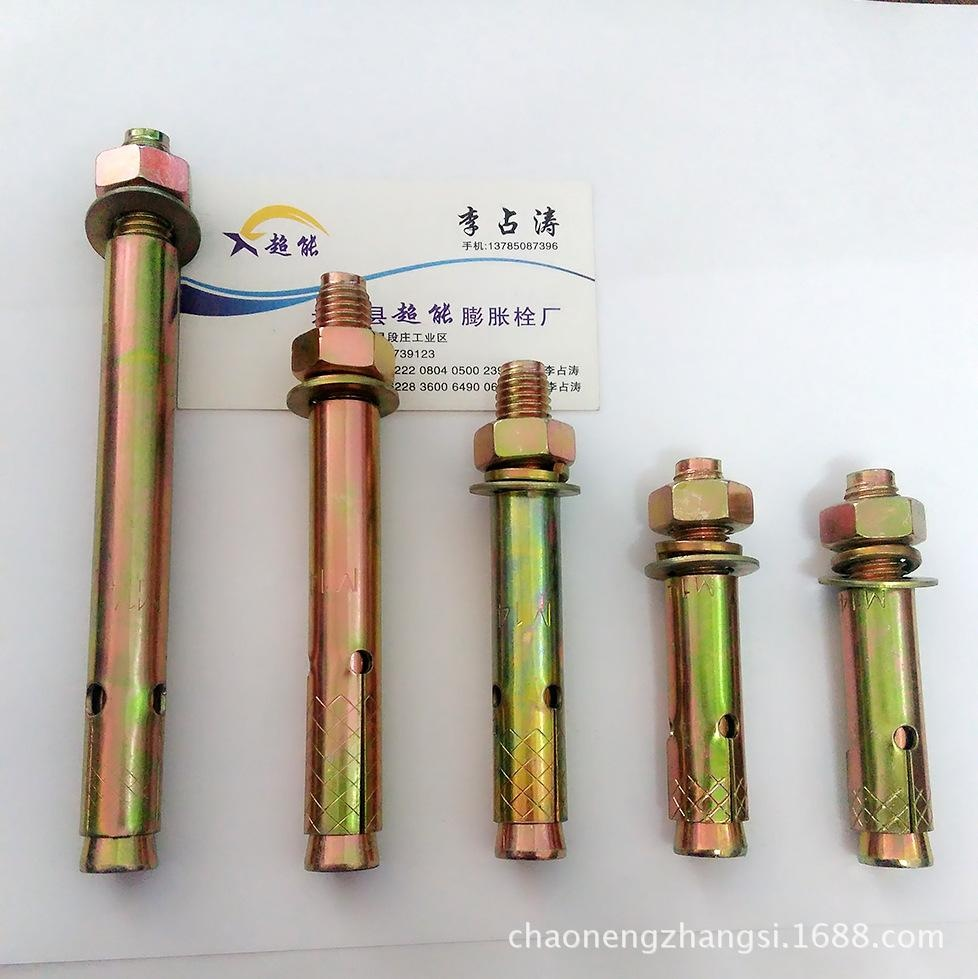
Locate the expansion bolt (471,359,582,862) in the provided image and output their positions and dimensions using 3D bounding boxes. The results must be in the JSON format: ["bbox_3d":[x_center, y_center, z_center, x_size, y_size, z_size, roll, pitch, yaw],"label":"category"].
[{"bbox_3d":[0.050,0.151,2.219,0.130,0.605,0.135,-2,-14,0],"label":"expansion bolt"}]

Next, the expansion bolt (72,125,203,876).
[{"bbox_3d":[-0.420,0.024,2.172,0.137,0.778,0.117,2,-15,-13],"label":"expansion bolt"}]

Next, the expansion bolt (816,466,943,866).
[{"bbox_3d":[0.493,0.228,2.252,0.136,0.488,0.136,-5,-15,11],"label":"expansion bolt"}]

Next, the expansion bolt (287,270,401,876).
[{"bbox_3d":[-0.178,0.100,2.195,0.136,0.720,0.158,1,-15,-12],"label":"expansion bolt"}]

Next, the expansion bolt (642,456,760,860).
[{"bbox_3d":[0.269,0.209,2.225,0.137,0.488,0.139,-3,-15,6],"label":"expansion bolt"}]
